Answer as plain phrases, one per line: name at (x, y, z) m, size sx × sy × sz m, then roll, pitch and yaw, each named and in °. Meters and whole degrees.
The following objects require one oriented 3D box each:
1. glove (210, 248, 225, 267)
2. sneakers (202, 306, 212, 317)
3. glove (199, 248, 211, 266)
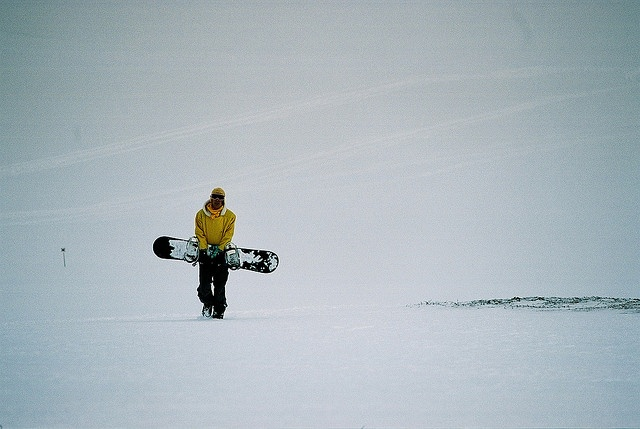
glove at (-1.506, 0.649, 16.366) m, size 0.163 × 0.070 × 0.287 m, roll 3°, pitch -94°, yaw -23°
sneakers at (-1.657, 1.439, 16.300) m, size 0.120 × 0.039 × 0.160 m, roll 3°, pitch -94°, yaw 3°
glove at (-1.709, 0.639, 16.348) m, size 0.215 × 0.219 × 0.375 m, roll 3°, pitch -99°, yaw -5°
